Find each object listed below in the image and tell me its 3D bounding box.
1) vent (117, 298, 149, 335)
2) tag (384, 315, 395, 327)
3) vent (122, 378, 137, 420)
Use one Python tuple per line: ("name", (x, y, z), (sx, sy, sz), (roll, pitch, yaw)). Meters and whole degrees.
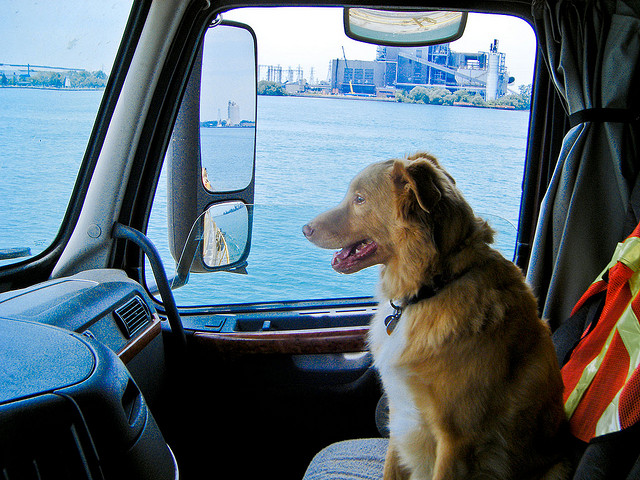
("vent", (-0.906, 0.374, 2.669), (0.018, 0.117, 0.170), (-25, 7, 17))
("tag", (0.342, 0.400, 2.746), (0.046, 0.011, 0.045), (-30, 3, -37))
("vent", (-0.680, 0.558, 1.980), (0.022, 0.099, 0.087), (6, 26, -24))
